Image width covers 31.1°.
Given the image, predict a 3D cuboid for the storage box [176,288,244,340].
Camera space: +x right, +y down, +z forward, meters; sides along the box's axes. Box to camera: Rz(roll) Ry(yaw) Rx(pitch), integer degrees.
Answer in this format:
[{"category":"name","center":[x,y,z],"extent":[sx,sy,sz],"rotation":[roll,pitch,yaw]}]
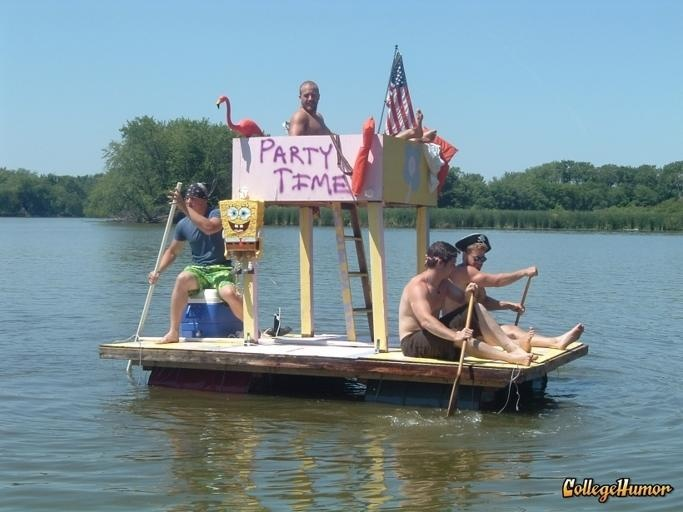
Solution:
[{"category":"storage box","center":[-2.281,0.955,21.558],"extent":[0.878,0.901,1.070],"rotation":[1,5,23]}]
